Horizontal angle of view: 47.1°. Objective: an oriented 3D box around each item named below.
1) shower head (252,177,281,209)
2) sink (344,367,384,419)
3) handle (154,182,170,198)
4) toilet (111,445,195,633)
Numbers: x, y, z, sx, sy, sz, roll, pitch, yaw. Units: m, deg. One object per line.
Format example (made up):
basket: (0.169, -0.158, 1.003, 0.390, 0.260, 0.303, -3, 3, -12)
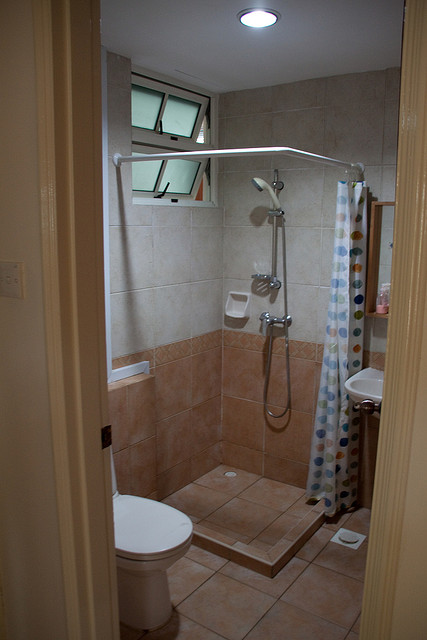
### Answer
shower head: (0.332, -0.782, 2.996, 0.120, 0.082, 0.194, -19, -17, 5)
sink: (0.762, 0.359, 2.483, 0.204, 0.087, 0.178, -15, 20, -28)
handle: (-0.308, -0.788, 2.961, 0.046, 0.107, 0.169, 2, 8, 9)
toilet: (-0.254, 0.979, 2.049, 0.315, 0.549, 0.479, -1, 8, -13)
